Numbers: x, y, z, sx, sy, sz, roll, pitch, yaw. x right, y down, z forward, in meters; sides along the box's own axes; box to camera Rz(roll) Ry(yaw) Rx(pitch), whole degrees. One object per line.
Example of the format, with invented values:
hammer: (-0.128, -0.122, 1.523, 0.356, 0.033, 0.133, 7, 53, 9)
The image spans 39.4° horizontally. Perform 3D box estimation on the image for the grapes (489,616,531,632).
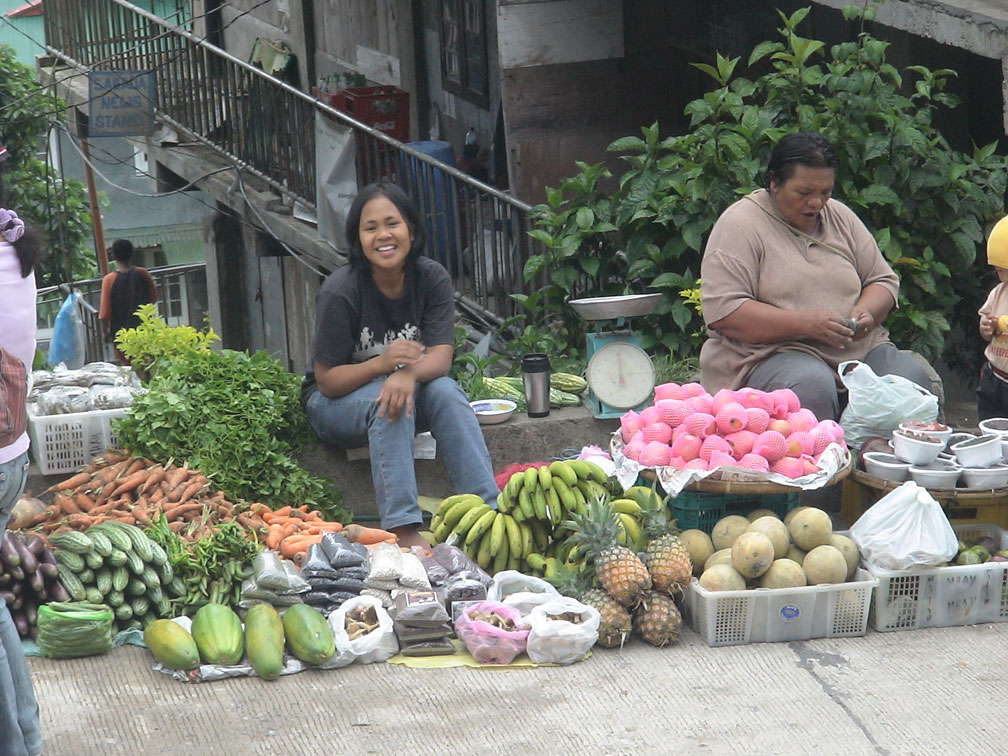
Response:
grapes: (0.030, 1.160, 6.617, 0.175, 0.058, 0.086, -4, 5, -3)

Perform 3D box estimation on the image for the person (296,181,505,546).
person: (-0.576, -0.056, 7.789, 0.798, 2.046, 1.392, -5, -3, -30)

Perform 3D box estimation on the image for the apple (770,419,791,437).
apple: (1.405, 0.257, 7.121, 0.080, 0.053, 0.082, 0, 1, -5)

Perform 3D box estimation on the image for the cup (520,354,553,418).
cup: (0.200, 0.048, 8.857, 0.170, 0.389, 0.233, -4, 5, 1)

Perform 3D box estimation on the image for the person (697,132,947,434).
person: (1.727, -0.499, 7.887, 1.131, 1.724, 1.000, 1, 15, -1)

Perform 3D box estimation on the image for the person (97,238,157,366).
person: (-3.837, -0.873, 14.281, 0.575, 1.045, 0.873, -5, 5, -16)

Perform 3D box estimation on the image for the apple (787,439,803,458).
apple: (1.455, 0.352, 7.054, 0.060, 0.090, 0.063, -1, 6, 30)

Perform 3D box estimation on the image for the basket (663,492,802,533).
basket: (1.145, 0.653, 7.117, 0.453, 0.154, 0.290, 0, 2, -20)
